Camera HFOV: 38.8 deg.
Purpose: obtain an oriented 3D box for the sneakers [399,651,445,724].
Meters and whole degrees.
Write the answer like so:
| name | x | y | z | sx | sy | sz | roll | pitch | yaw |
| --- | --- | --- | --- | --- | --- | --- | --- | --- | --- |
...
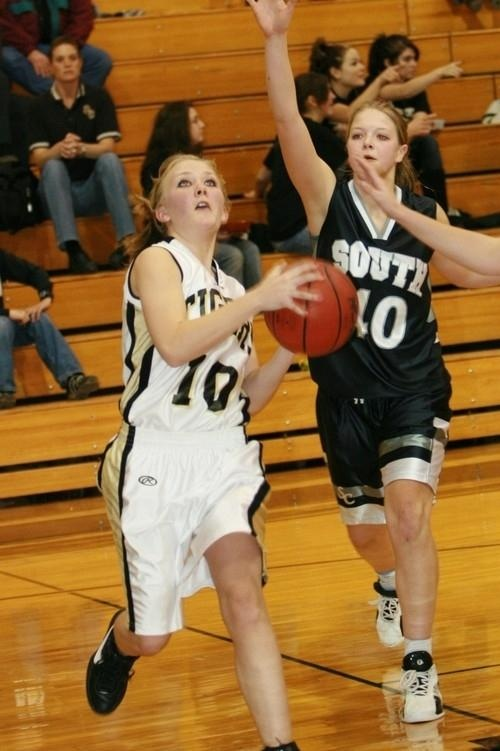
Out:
| name | x | y | z | sx | sy | sz | roll | pitch | yaw |
| --- | --- | --- | --- | --- | --- | --- | --- | --- | --- |
| sneakers | 0.350 | 0.643 | 1.470 | 0.082 | 0.119 | 0.084 | -6 | 1 | 9 |

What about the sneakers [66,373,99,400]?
| name | x | y | z | sx | sy | sz | roll | pitch | yaw |
| --- | --- | --- | --- | --- | --- | --- | --- | --- | --- |
| sneakers | -0.936 | 0.059 | 3.929 | 0.072 | 0.127 | 0.126 | 11 | 28 | -39 |

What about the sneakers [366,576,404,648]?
| name | x | y | z | sx | sy | sz | roll | pitch | yaw |
| --- | --- | --- | --- | --- | --- | --- | --- | --- | --- |
| sneakers | 0.388 | 0.675 | 2.036 | 0.101 | 0.206 | 0.091 | -5 | -24 | 3 |
